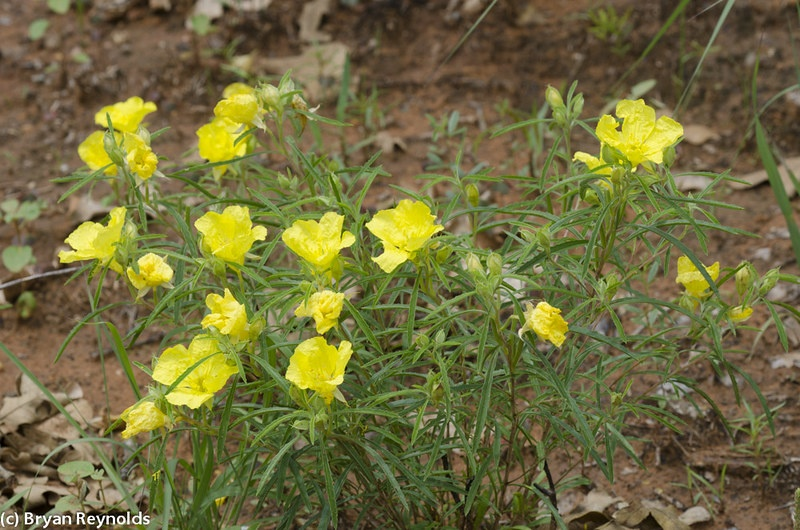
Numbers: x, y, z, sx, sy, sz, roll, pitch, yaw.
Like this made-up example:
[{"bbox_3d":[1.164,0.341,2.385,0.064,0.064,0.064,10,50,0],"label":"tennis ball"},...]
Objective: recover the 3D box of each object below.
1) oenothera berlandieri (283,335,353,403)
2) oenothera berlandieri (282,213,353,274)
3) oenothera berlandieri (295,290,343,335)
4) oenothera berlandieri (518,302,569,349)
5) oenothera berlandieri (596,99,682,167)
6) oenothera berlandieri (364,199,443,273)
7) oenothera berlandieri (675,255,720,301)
[{"bbox_3d":[-0.322,0.481,3.372,0.273,0.207,0.294,23,35,29],"label":"oenothera berlandieri"},{"bbox_3d":[-0.352,-0.111,3.467,0.260,0.162,0.262,8,52,12],"label":"oenothera berlandieri"},{"bbox_3d":[-0.324,0.194,3.433,0.191,0.107,0.193,-39,78,20],"label":"oenothera berlandieri"},{"bbox_3d":[0.637,0.229,3.474,0.226,0.160,0.120,28,61,25],"label":"oenothera berlandieri"},{"bbox_3d":[1.095,-0.542,3.666,0.327,0.386,0.201,5,52,15],"label":"oenothera berlandieri"},{"bbox_3d":[0.017,-0.149,3.450,0.315,0.157,0.325,-20,80,12],"label":"oenothera berlandieri"},{"bbox_3d":[1.394,0.048,3.723,0.183,0.131,0.207,-41,44,-13],"label":"oenothera berlandieri"}]
